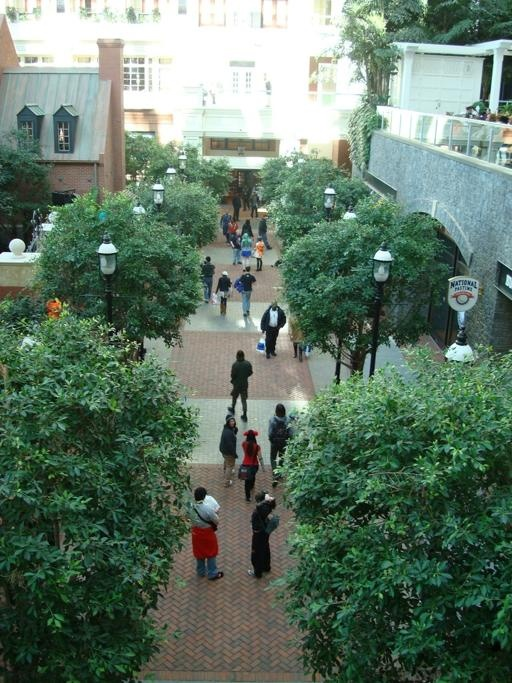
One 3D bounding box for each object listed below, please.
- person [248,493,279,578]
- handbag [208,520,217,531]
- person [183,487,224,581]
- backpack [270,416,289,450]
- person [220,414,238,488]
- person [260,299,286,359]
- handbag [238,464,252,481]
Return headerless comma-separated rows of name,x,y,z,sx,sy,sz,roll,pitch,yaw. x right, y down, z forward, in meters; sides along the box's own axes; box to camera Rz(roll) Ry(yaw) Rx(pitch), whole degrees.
person,0.110,2.742,8.122,0.333,1.327,0.568,2,7,0
handbag,-0.597,2.519,7.882,0.122,0.169,0.103,-6,39,5
person,-0.691,2.687,8.037,0.458,1.480,0.550,2,7,2
backpack,0.429,1.658,10.523,0.380,0.580,0.233,2,7,2
person,-0.511,2.035,10.824,0.288,1.358,0.803,1,7,-3
person,0.470,-0.284,16.803,0.657,1.758,1.537,2,7,1
handbag,-0.213,2.305,10.139,0.140,0.310,0.324,-2,7,-30
